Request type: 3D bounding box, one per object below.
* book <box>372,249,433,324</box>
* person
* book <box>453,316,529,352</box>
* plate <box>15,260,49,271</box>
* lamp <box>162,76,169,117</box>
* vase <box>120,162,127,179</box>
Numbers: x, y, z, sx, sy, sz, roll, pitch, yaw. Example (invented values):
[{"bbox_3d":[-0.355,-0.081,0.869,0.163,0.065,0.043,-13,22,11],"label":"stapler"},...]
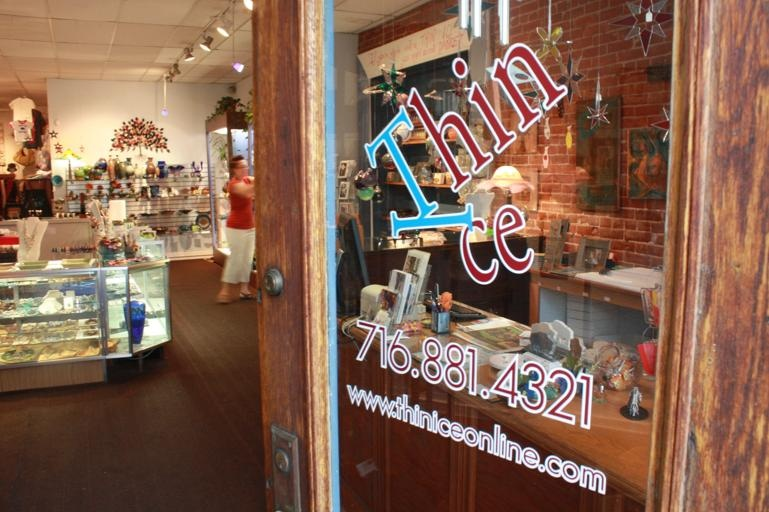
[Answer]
[{"bbox_3d":[0.040,0.069,1.260,0.103,0.191,0.113,11,7,-34],"label":"book"},{"bbox_3d":[-1.841,-0.278,6.666,0.491,1.833,1.475,-4,10,-16],"label":"person"},{"bbox_3d":[0.233,0.165,1.170,0.097,0.090,0.010,0,-12,31],"label":"book"},{"bbox_3d":[-2.811,0.075,4.358,0.225,0.015,0.474,-8,12,-34],"label":"plate"},{"bbox_3d":[-4.317,-3.074,10.700,0.170,0.672,0.250,-5,10,-21],"label":"lamp"},{"bbox_3d":[-4.938,-1.618,10.340,0.137,0.296,0.154,-5,10,-24],"label":"vase"}]
